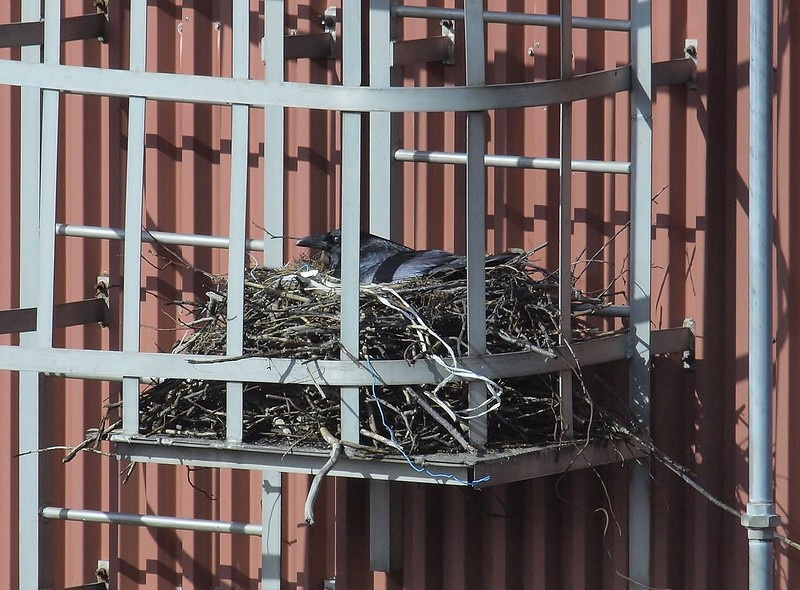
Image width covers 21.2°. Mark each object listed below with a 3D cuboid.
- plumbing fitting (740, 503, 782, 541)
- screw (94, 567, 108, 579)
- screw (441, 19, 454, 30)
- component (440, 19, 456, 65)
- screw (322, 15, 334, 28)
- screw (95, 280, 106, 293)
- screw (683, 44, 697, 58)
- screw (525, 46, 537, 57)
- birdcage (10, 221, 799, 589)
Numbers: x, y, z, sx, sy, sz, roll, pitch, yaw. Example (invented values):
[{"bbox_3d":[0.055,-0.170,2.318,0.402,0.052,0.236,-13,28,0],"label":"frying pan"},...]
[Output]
[{"bbox_3d":[2.169,1.352,12.904,0.206,0.203,0.235,1,-86,19],"label":"plumbing fitting"},{"bbox_3d":[-1.977,1.826,14.124,0.070,0.035,0.077,7,-67,26],"label":"screw"},{"bbox_3d":[0.291,-1.716,13.798,0.064,0.050,0.066,-15,-74,-19],"label":"screw"},{"bbox_3d":[0.294,-1.605,13.778,0.100,0.441,0.024,2,-46,0],"label":"component"},{"bbox_3d":[-0.476,-1.745,13.910,0.080,0.027,0.070,-6,-85,25],"label":"screw"},{"bbox_3d":[-1.983,-0.047,14.100,0.058,0.021,0.064,0,-89,21],"label":"screw"},{"bbox_3d":[1.810,-1.504,13.418,0.107,0.041,0.079,3,-91,-4],"label":"screw"},{"bbox_3d":[0.825,-1.535,13.687,0.042,0.019,0.063,2,-86,25],"label":"screw"},{"bbox_3d":[-0.010,0.473,13.021,3.964,2.279,2.870,2,-89,31],"label":"birdcage"}]
